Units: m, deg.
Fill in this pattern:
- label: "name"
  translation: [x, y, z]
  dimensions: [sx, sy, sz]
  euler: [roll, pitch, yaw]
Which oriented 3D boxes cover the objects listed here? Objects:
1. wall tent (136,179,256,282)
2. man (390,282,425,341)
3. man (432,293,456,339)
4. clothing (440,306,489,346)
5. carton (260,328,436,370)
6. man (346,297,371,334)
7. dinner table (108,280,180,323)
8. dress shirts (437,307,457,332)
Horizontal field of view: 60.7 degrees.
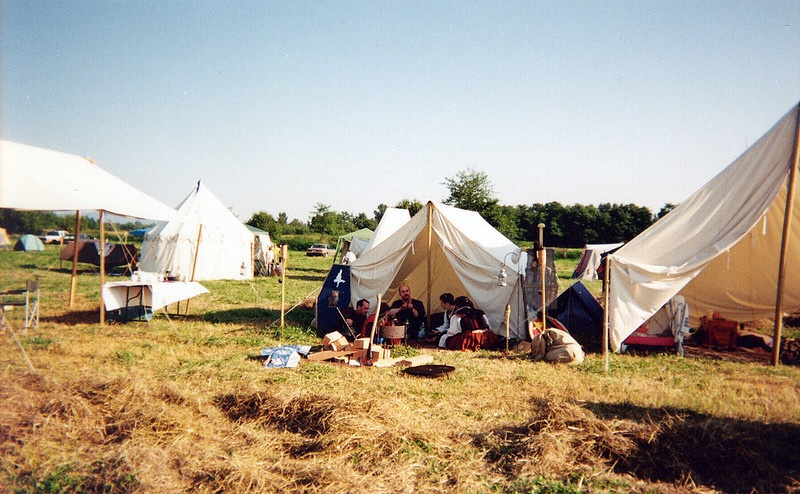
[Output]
- label: "wall tent"
  translation: [-6.623, -0.144, 21.978]
  dimensions: [2.992, 2.485, 3.193]
  euler: [4, 2, 20]
- label: "man"
  translation: [0.224, 1.470, 14.764]
  dimensions: [0.888, 1.453, 1.041]
  euler: [-2, -16, 4]
- label: "man"
  translation: [1.080, 1.494, 14.540]
  dimensions: [0.597, 0.979, 0.714]
  euler: [-5, 7, -6]
- label: "clothing"
  translation: [1.461, 1.662, 14.168]
  dimensions: [1.186, 0.883, 0.748]
  euler: [-7, 1, -16]
- label: "carton"
  translation: [-1.082, 1.997, 12.807]
  dimensions: [3.030, 0.605, 1.040]
  euler: [5, -2, -7]
- label: "man"
  translation: [-0.869, 1.507, 14.571]
  dimensions: [0.494, 0.809, 0.441]
  euler: [11, -19, -32]
- label: "dinner table"
  translation: [-5.847, 1.195, 14.795]
  dimensions: [0.986, 0.695, 1.030]
  euler: [0, -2, -12]
- label: "dress shirts"
  translation: [1.021, 1.562, 14.382]
  dimensions: [0.146, 0.464, 0.339]
  euler: [13, 3, 5]
